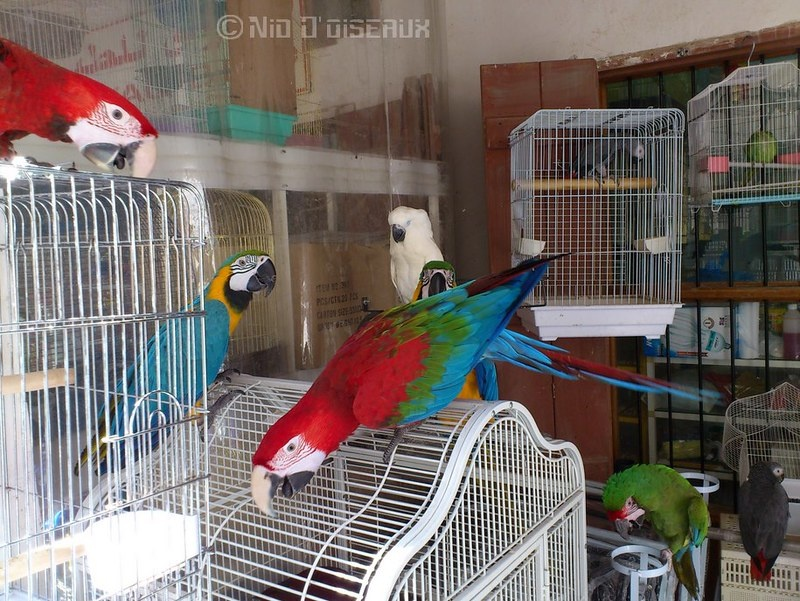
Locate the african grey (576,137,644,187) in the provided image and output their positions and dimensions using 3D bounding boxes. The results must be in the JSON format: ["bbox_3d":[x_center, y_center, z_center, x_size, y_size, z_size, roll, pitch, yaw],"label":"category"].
[{"bbox_3d":[0.646,-0.433,2.482,0.218,0.124,0.107,3,3,16],"label":"african grey"}]

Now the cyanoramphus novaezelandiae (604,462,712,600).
[{"bbox_3d":[0.687,0.619,2.179,0.263,0.347,0.179,2,3,16],"label":"cyanoramphus novaezelandiae"}]

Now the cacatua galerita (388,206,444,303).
[{"bbox_3d":[0.039,-0.163,2.429,0.147,0.301,0.150,14,19,28],"label":"cacatua galerita"}]

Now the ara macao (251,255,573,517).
[{"bbox_3d":[-0.002,0.171,1.753,0.609,0.537,0.247,1,3,-3],"label":"ara macao"}]

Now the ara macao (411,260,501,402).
[{"bbox_3d":[0.135,0.088,2.380,0.184,0.460,0.396,-4,7,7],"label":"ara macao"}]

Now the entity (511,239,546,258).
[{"bbox_3d":[0.382,-0.160,2.456,0.061,0.059,0.135,0,4,-31],"label":"entity"}]
